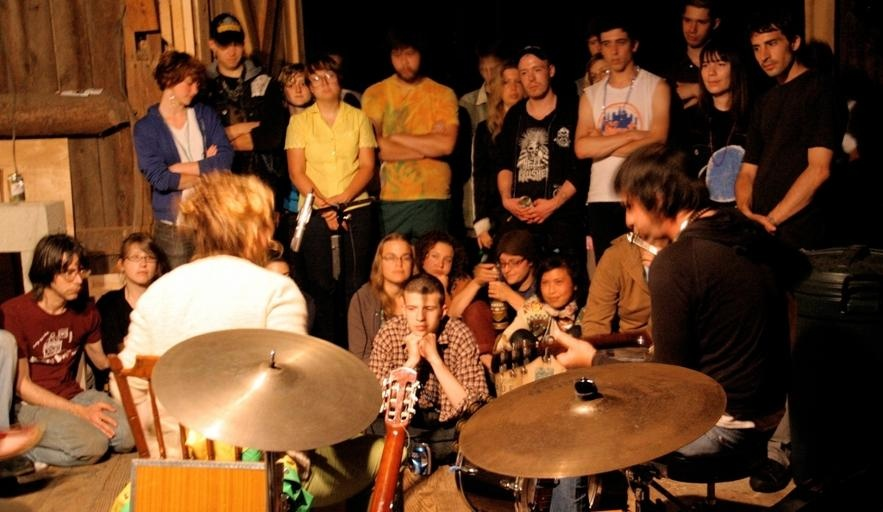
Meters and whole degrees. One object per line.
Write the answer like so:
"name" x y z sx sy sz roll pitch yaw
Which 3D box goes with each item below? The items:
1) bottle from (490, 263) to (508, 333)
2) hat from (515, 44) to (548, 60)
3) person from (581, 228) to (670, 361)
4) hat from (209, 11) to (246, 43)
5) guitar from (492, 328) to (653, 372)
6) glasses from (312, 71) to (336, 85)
"bottle" 0.537 0.384 6.886 0.173 0.579 0.278 4 16 19
"hat" 0.868 -1.964 7.188 0.320 0.125 0.251 3 15 18
"person" 1.437 0.334 5.806 0.812 1.120 0.644 2 24 0
"hat" -2.096 -2.249 7.299 0.262 0.180 0.350 -9 19 -18
"guitar" 0.961 0.701 5.466 0.825 0.211 0.396 -4 -7 -39
"glasses" -1.110 -1.714 7.074 0.140 0.038 0.128 -4 -28 -1
